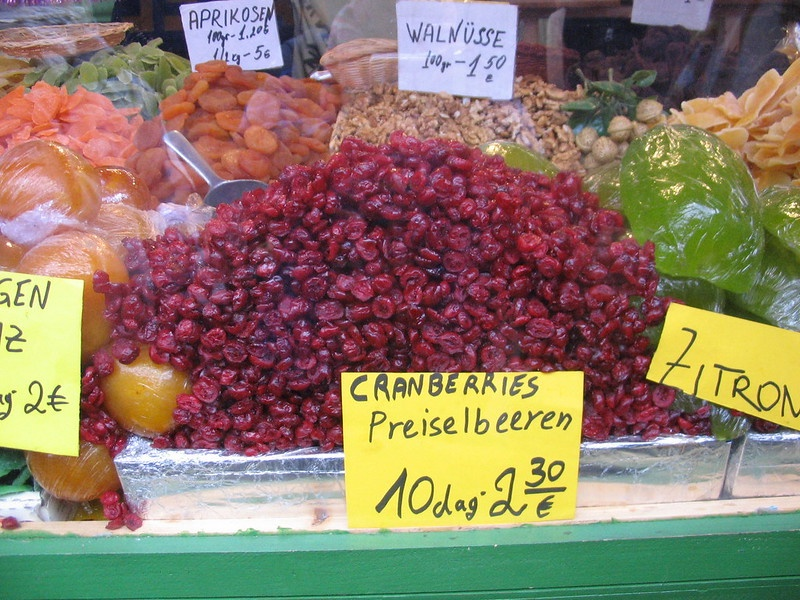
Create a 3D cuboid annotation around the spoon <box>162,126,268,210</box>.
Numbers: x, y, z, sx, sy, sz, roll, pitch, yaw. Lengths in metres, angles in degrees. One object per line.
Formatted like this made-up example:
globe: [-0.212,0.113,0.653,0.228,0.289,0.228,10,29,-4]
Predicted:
spoon: [-0.491,-0.322,1.919,0.153,0.052,0.367,-29,52,-22]
